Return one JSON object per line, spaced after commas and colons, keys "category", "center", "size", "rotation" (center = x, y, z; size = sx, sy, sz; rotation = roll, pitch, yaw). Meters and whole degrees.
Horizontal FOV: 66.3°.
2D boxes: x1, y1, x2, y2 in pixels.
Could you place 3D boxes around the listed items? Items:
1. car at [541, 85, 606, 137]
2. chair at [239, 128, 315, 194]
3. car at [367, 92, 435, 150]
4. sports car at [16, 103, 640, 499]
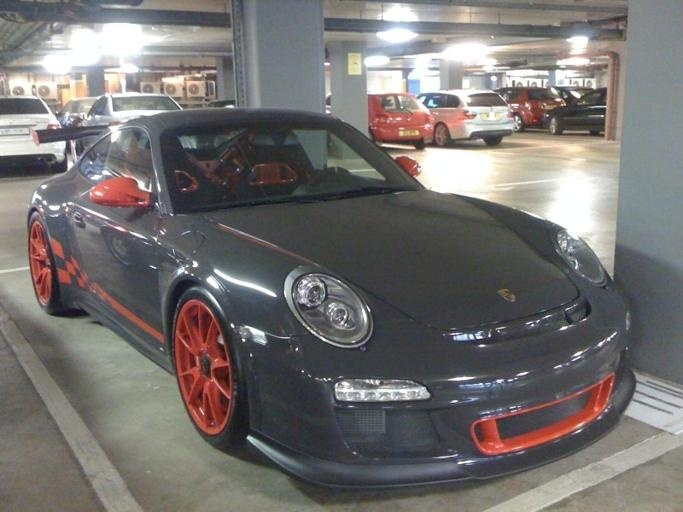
{"category": "car", "center": [8.930, -5.491, 20.102], "size": [1.174, 1.132, 2.760], "rotation": [-11, 20, -33]}
{"category": "chair", "center": [-0.403, -0.586, 3.159], "size": [0.310, 0.160, 0.533], "rotation": [-4, 48, -10]}
{"category": "car", "center": [1.872, -4.344, 16.728], "size": [1.242, 1.076, 2.226], "rotation": [-9, 23, -19]}
{"category": "sports car", "center": [-0.472, -0.066, 3.013], "size": [1.634, 1.112, 3.387], "rotation": [-12, 22, -35]}
